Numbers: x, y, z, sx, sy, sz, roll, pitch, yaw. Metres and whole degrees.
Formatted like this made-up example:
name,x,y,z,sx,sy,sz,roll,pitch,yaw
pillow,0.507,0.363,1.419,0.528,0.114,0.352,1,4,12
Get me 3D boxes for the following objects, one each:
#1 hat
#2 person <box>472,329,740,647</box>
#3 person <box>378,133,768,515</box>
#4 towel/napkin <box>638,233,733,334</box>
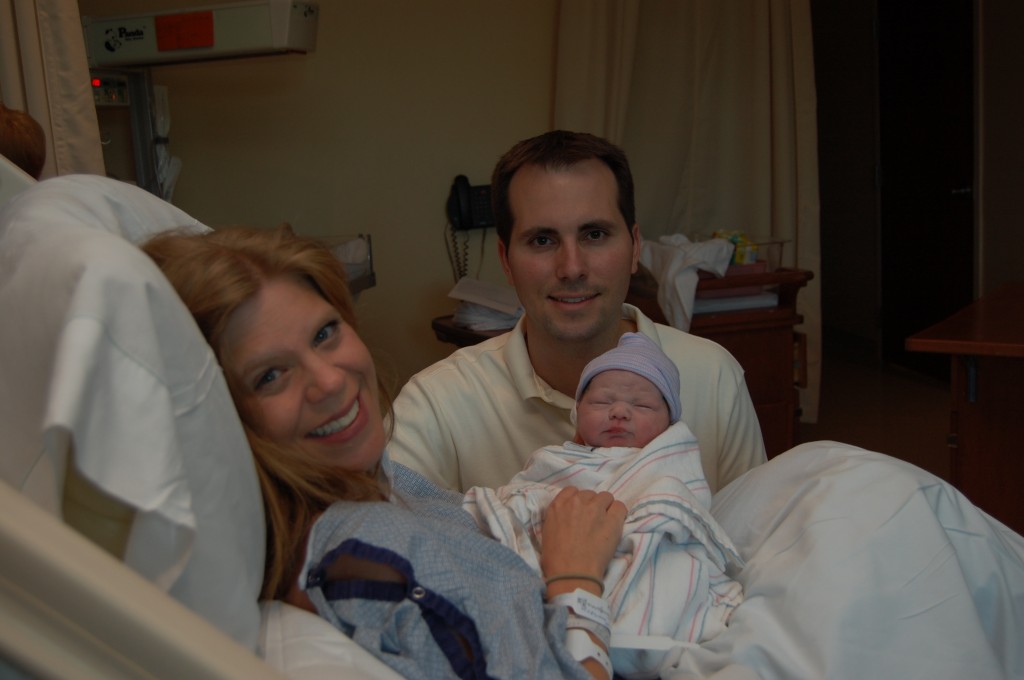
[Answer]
name,x,y,z,sx,sy,sz,roll,pitch,yaw
hat,0.314,0.088,1.969,0.206,0.214,0.230,2,-1,6
person,0.264,0.350,1.851,0.593,0.293,0.819,10,44,20
person,0.127,0.021,2.306,1.147,1.233,0.642,-5,8,-1
towel/napkin,0.828,-0.319,3.691,0.415,0.204,0.437,7,17,27
